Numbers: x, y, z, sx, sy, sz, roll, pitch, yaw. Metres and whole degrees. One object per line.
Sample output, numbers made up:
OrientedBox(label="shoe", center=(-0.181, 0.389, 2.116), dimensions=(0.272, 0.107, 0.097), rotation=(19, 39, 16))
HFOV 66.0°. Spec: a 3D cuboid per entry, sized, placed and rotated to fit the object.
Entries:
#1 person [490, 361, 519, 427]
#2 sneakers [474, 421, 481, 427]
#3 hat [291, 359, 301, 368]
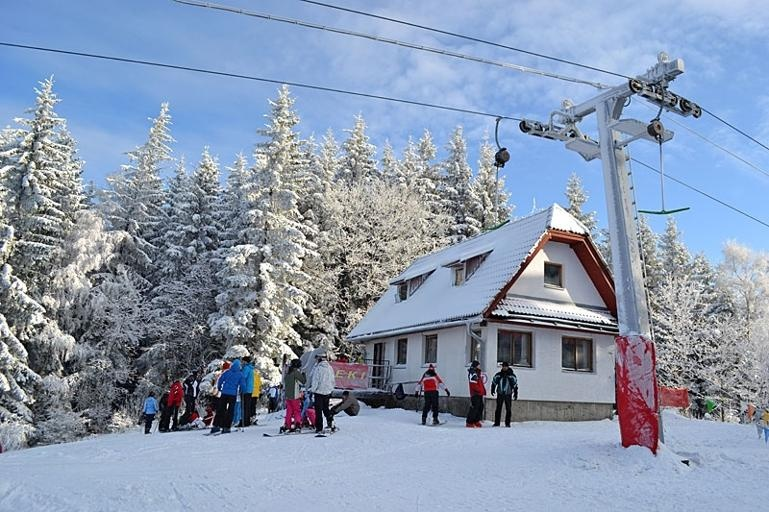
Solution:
OrientedBox(label="person", center=(5.040, 5.857, 24.971), dimensions=(0.995, 2.646, 0.738), rotation=(1, -1, 2))
OrientedBox(label="sneakers", center=(3.951, 7.089, 24.813), dimensions=(0.329, 0.253, 0.114), rotation=(-8, -19, 1))
OrientedBox(label="hat", center=(-3.275, 3.970, 21.921), dimensions=(0.241, 0.323, 0.317), rotation=(0, -10, 8))
